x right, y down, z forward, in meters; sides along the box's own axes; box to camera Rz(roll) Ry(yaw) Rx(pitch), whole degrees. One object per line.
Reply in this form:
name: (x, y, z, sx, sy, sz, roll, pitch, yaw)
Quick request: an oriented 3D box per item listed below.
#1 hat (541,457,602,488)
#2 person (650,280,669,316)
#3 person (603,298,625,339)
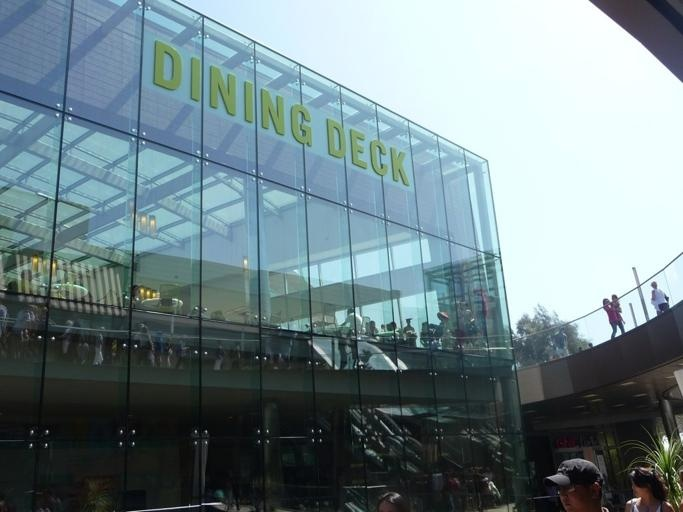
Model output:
hat: (2.282, 2.079, 5.075, 0.459, 0.248, 0.311, 4, -27, 5)
person: (10.415, 1.317, 16.923, 0.291, 1.165, 0.732, -8, -22, 11)
person: (10.230, 2.271, 19.395, 0.405, 1.599, 1.005, -6, -22, 7)
